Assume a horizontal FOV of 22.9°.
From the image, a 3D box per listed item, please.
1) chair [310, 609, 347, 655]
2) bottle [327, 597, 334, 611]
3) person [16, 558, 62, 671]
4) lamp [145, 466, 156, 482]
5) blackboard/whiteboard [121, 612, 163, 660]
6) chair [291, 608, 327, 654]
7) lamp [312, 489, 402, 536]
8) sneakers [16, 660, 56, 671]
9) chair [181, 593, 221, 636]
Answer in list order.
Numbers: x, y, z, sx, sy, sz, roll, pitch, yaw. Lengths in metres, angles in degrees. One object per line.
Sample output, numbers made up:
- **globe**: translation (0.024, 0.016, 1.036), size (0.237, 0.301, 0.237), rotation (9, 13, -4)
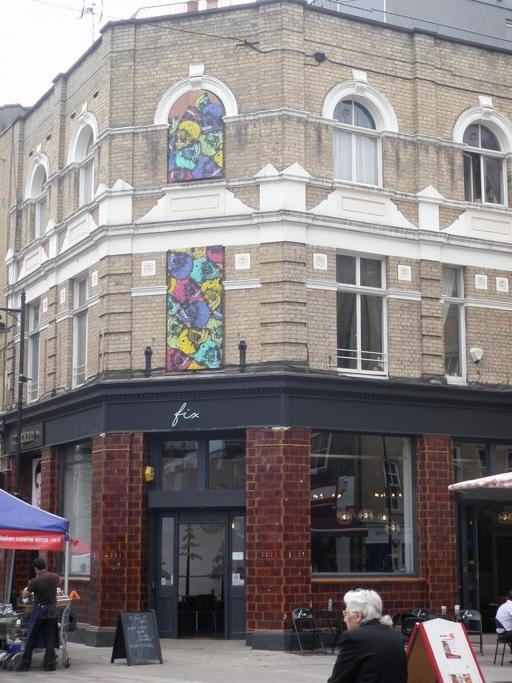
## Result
- **chair**: translation (1.223, 4.874, 20.694), size (0.563, 1.024, 0.720), rotation (2, -48, 0)
- **bottle**: translation (1.245, 4.372, 20.973), size (0.129, 0.277, 0.140), rotation (0, -10, 0)
- **person**: translation (-3.113, 3.899, 18.098), size (0.512, 1.621, 0.600), rotation (0, -15, -2)
- **lamp**: translation (-1.872, 2.279, 21.990), size (0.166, 0.284, 0.372), rotation (-1, -16, 0)
- **blackboard/whiteboard**: translation (-1.651, 4.242, 18.094), size (0.649, 0.753, 0.291), rotation (4, -16, -17)
- **chair**: translation (0.750, 4.596, 20.135), size (0.514, 0.733, 0.555), rotation (-12, -22, 41)
- **lamp**: translation (1.685, 2.943, 21.822), size (1.756, 0.895, 0.344), rotation (13, -12, -16)
- **sneakers**: translation (-3.112, 4.559, 17.771), size (0.533, 0.173, 0.277), rotation (2, -17, -11)
- **chair**: translation (-0.975, 4.752, 22.279), size (0.764, 0.864, 0.626), rotation (1, -6, -6)
